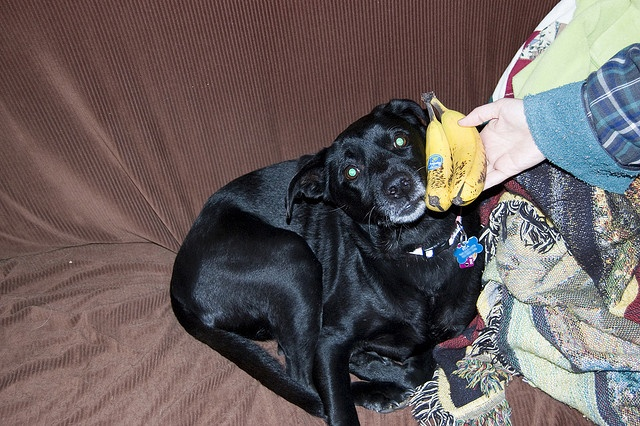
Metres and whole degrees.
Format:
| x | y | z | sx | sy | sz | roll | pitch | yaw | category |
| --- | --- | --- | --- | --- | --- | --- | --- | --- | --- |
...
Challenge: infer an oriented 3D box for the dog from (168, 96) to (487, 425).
| x | y | z | sx | sy | sz | roll | pitch | yaw | category |
| --- | --- | --- | --- | --- | --- | --- | --- | --- | --- |
| 0.058 | 0.178 | 3.038 | 1.831 | 1.772 | 1.007 | 13 | 19 | 20 | dog |
